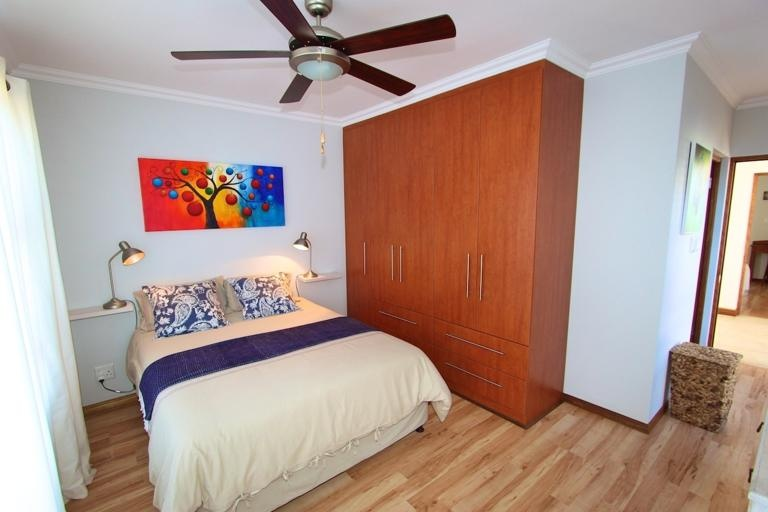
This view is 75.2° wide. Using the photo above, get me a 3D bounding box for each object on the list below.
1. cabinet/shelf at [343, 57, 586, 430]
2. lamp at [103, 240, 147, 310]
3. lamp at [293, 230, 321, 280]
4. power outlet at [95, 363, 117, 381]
[{"bbox_3d":[0.841,-0.104,4.696,0.873,3.309,2.950,-7,10,-43],"label":"cabinet/shelf"},{"bbox_3d":[-2.480,0.182,4.727,0.400,0.632,0.346,-8,8,-26],"label":"lamp"},{"bbox_3d":[-0.892,0.003,5.702,0.272,0.543,0.457,-5,7,-10],"label":"lamp"},{"bbox_3d":[-2.693,1.120,4.806,0.165,0.162,0.083,-6,13,-42],"label":"power outlet"}]
